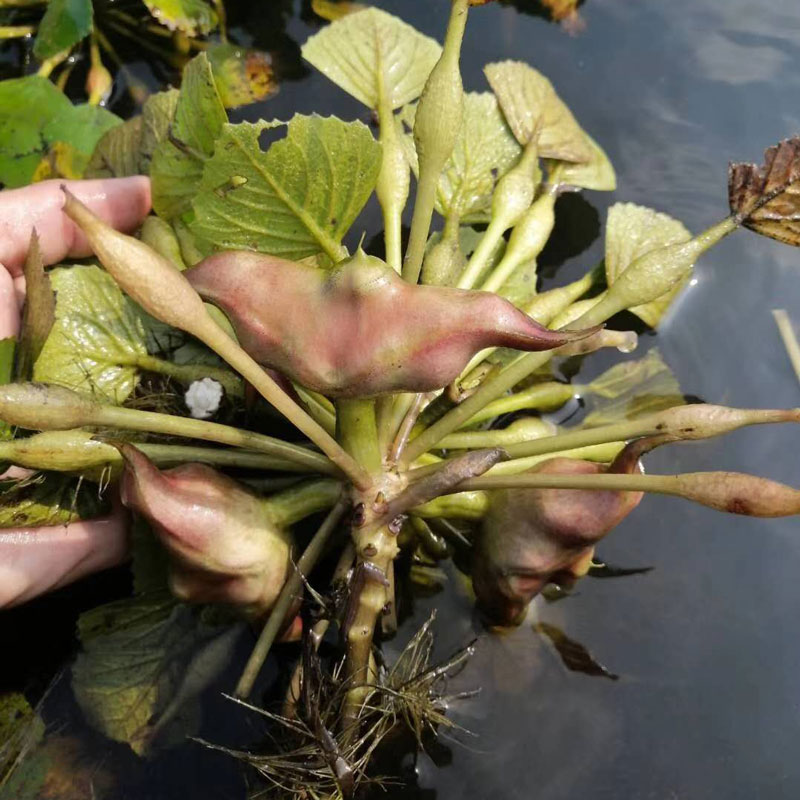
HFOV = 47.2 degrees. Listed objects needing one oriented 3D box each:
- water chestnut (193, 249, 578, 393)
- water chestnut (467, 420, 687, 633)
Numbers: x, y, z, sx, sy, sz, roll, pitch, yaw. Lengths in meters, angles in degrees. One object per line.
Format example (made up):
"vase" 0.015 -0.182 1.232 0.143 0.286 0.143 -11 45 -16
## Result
"water chestnut" -0.011 -0.057 0.600 0.237 0.073 0.083 5 30 14
"water chestnut" 0.111 0.092 0.688 0.077 0.237 0.093 -28 59 -38
